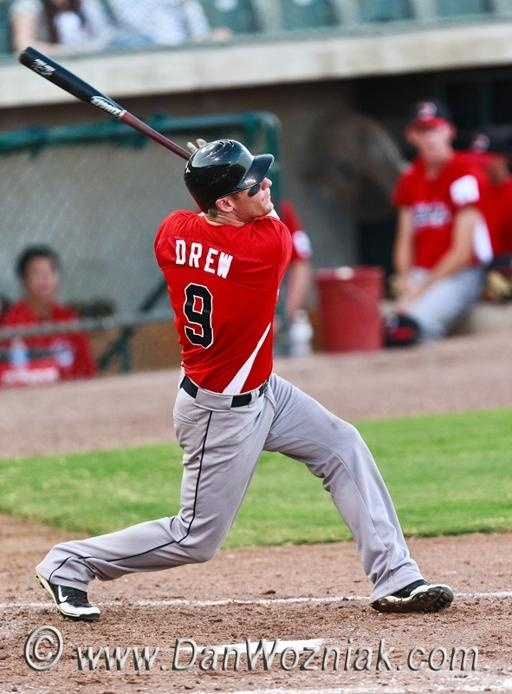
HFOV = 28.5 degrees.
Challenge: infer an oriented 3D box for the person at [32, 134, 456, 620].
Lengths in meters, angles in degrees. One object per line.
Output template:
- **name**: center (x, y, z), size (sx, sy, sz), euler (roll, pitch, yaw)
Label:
- **person**: center (-0.055, 0.098, 2.545), size (0.999, 1.217, 0.357), euler (-4, 7, -14)

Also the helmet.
- **helmet**: center (-0.069, -0.443, 2.432), size (0.243, 0.117, 0.156), euler (-14, 40, 3)

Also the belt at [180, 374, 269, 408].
- **belt**: center (-0.076, 0.107, 2.495), size (0.215, 0.075, 0.109), euler (-2, 5, -1)

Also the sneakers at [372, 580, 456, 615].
- **sneakers**: center (0.398, 0.639, 2.571), size (0.163, 0.050, 0.067), euler (-15, 40, -1)
